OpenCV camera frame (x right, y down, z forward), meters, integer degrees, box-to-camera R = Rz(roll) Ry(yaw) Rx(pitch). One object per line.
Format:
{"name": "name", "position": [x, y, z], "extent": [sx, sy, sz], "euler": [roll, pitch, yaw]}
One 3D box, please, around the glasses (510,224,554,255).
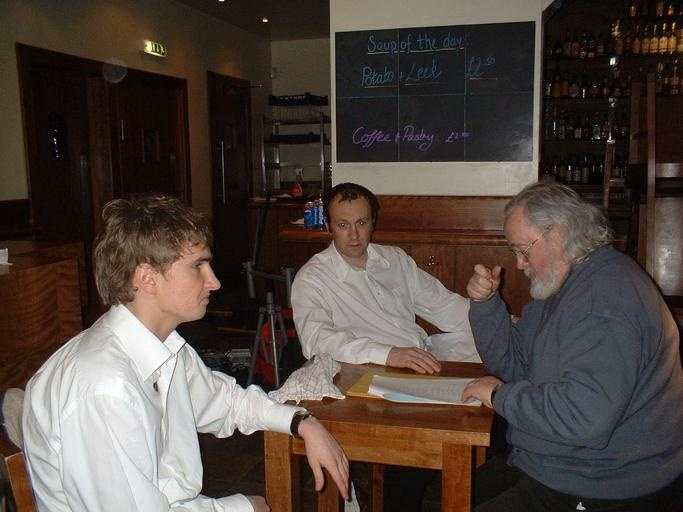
{"name": "glasses", "position": [0.692, -0.046, 1.996], "extent": [0.102, 0.033, 0.097], "euler": [-40, 6, -19]}

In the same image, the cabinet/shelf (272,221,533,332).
{"name": "cabinet/shelf", "position": [0.413, 0.108, 3.080], "extent": [0.855, 0.569, 0.280], "euler": [0, 0, 9]}

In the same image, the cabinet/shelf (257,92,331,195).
{"name": "cabinet/shelf", "position": [-0.669, -1.751, 8.454], "extent": [1.027, 1.564, 1.622], "euler": [-3, 8, -5]}

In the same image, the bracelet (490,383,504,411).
{"name": "bracelet", "position": [0.513, 0.471, 1.857], "extent": [0.025, 0.072, 0.070], "euler": [10, 17, 26]}

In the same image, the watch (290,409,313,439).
{"name": "watch", "position": [-0.131, 0.525, 1.744], "extent": [0.054, 0.087, 0.090], "euler": [4, 3, 39]}
